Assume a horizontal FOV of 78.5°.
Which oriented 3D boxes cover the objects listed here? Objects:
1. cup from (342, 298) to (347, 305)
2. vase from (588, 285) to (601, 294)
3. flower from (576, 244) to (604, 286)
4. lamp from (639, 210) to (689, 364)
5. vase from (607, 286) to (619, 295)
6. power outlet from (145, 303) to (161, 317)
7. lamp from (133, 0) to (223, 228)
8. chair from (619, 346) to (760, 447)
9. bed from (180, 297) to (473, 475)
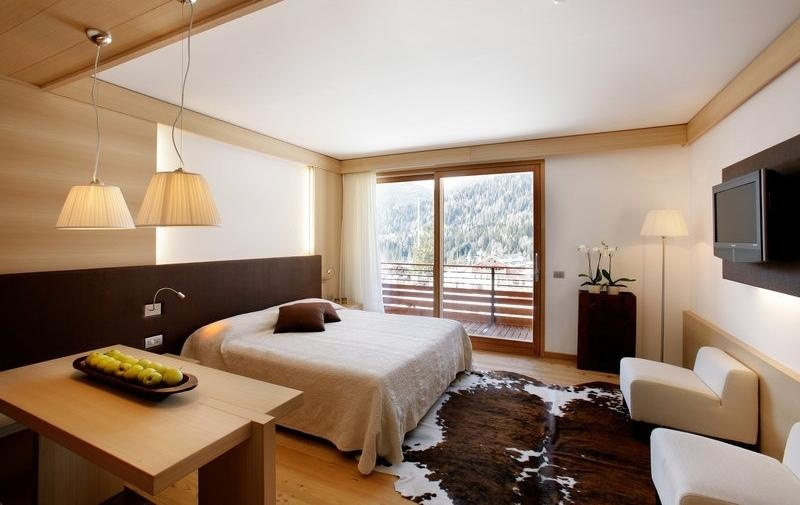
[{"bbox_3d":[-0.829,0.743,7.440,0.061,0.106,0.115,-2,-2,21],"label":"cup"},{"bbox_3d":[2.451,0.478,6.146,0.106,0.068,0.107,-1,-5,9],"label":"vase"},{"bbox_3d":[2.501,0.169,6.356,0.427,0.613,0.464,0,4,15],"label":"flower"},{"bbox_3d":[3.160,0.420,5.866,0.466,1.859,0.539,2,3,30],"label":"lamp"},{"bbox_3d":[2.659,0.485,6.084,0.125,0.089,0.101,1,-3,42],"label":"vase"},{"bbox_3d":[-2.593,0.602,5.084,0.030,0.109,0.154,3,3,33],"label":"power outlet"},{"bbox_3d":[-2.072,-1.053,4.505,0.564,1.650,2.196,0,3,-25],"label":"lamp"},{"bbox_3d":[2.840,1.273,4.717,0.878,0.541,0.858,2,0,23],"label":"chair"},{"bbox_3d":[-0.787,1.189,4.981,1.755,0.593,1.781,0,1,27],"label":"bed"}]
